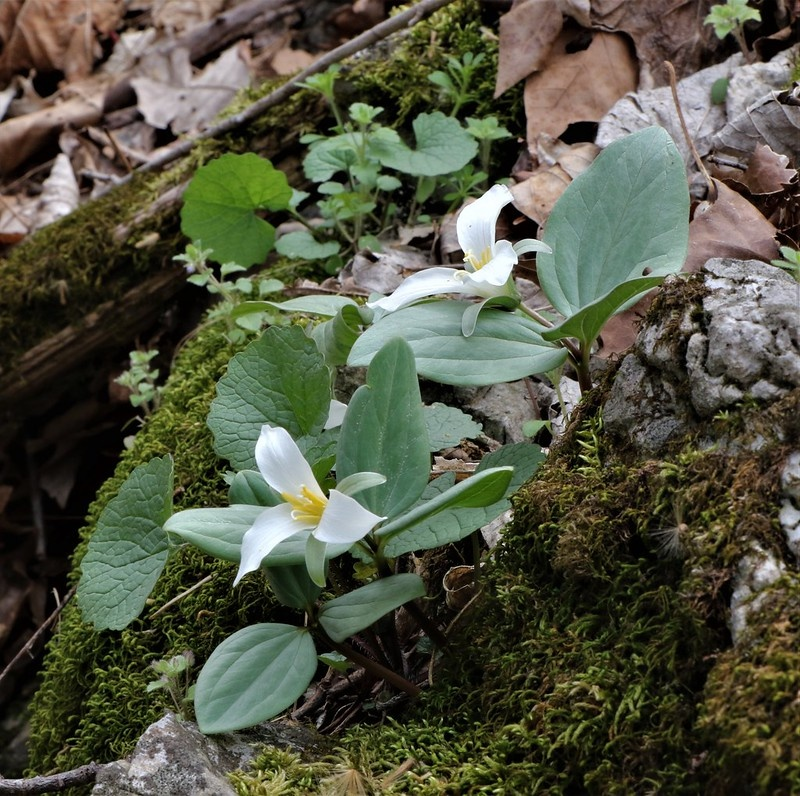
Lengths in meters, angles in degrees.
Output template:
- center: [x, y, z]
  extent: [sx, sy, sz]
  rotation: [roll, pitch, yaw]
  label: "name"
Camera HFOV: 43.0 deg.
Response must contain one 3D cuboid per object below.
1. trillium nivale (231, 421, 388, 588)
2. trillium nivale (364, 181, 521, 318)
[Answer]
- center: [-0.220, 0.260, 2.284]
  extent: [0.325, 0.094, 0.272]
  rotation: [-11, 7, -2]
  label: "trillium nivale"
- center: [0.168, -0.335, 2.441]
  extent: [0.350, 0.133, 0.302]
  rotation: [-49, 9, 1]
  label: "trillium nivale"
